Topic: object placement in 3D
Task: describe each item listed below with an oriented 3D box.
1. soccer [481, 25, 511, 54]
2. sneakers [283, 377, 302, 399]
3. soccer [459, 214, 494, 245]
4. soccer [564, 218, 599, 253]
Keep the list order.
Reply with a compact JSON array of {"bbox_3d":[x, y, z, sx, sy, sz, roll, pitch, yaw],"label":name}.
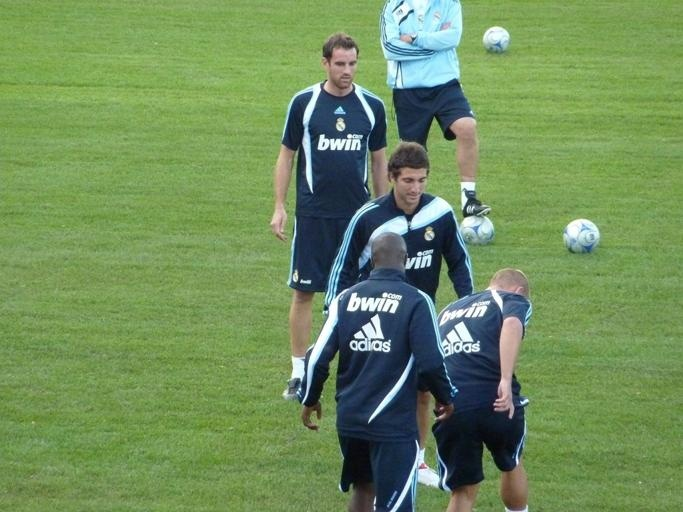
[{"bbox_3d":[2.595,-3.665,28.035,0.433,0.428,0.423,11,-11,44],"label":"soccer"},{"bbox_3d":[-0.569,1.603,19.753,0.178,0.233,0.337,-2,4,-26],"label":"sneakers"},{"bbox_3d":[1.786,-0.349,22.136,0.406,0.378,0.395,-15,40,-27],"label":"soccer"},{"bbox_3d":[3.219,-0.249,22.077,0.450,0.444,0.441,-10,-5,42],"label":"soccer"}]
